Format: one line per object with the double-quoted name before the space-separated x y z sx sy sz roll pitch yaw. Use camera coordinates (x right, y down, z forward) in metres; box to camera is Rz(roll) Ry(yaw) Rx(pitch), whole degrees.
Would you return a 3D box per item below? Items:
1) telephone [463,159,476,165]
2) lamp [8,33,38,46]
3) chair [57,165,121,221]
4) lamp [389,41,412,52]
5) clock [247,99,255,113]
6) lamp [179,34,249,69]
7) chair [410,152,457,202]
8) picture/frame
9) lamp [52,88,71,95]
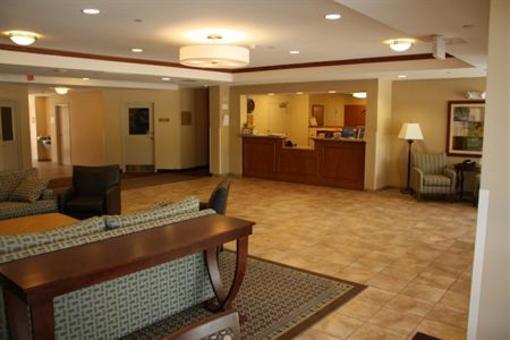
"telephone" 5.330 -0.180 8.505 0.255 0.084 0.177 1 6 -18
"lamp" -3.921 -2.208 5.812 0.270 0.087 0.261 -4 8 -34
"chair" -3.197 0.459 6.888 1.211 1.343 1.080 0 1 -7
"lamp" 2.673 -2.288 6.327 0.240 0.080 0.232 -5 9 -31
"clock" -0.161 -2.518 13.540 0.127 0.582 0.440 6 13 26
"lamp" -0.739 -2.049 6.143 0.781 0.253 0.744 -2 6 -12
"chair" 4.471 0.146 8.684 1.040 1.029 1.107 -3 10 -5
"picture/frame" 5.344 -1.060 8.792 0.852 1.434 0.268 6 13 26
"lamp" -7.010 -2.856 12.472 0.498 0.165 0.477 -1 9 4
